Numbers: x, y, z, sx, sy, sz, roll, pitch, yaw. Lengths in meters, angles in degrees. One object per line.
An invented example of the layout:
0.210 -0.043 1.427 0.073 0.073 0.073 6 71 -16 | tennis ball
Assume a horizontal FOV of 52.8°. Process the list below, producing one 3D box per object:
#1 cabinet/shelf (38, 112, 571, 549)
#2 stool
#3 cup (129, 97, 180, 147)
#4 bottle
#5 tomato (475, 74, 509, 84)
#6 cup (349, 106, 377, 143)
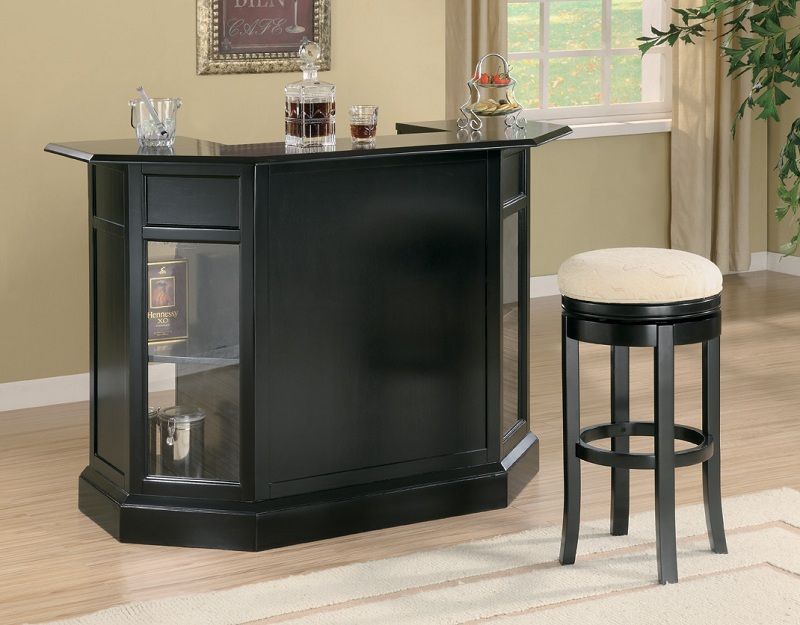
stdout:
-0.221 0.086 2.916 1.906 1.202 0.830 -3 6 -30 | cabinet/shelf
0.738 0.287 2.431 0.544 0.944 0.471 6 16 24 | stool
-0.789 -0.628 2.666 0.188 0.155 0.136 0 12 -7 | cup
-0.285 -0.702 2.616 0.198 0.301 0.186 0 21 0 | bottle
0.357 -0.893 3.079 0.117 0.038 0.065 3 33 -13 | tomato
-0.114 -0.621 2.672 0.108 0.113 0.124 2 4 8 | cup
